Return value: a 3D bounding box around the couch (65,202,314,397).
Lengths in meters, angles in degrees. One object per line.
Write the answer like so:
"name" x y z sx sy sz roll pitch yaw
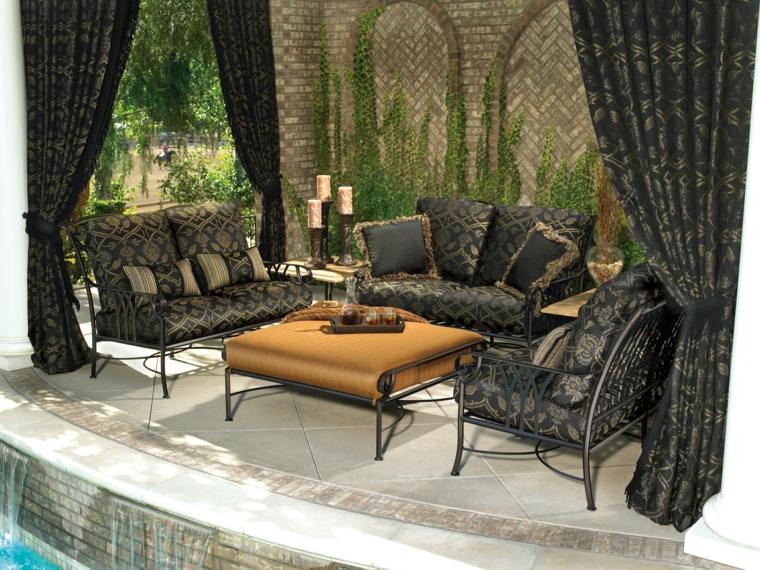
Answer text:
"couch" -1.560 -0.045 5.185 1.162 0.984 1.873 15 16 26

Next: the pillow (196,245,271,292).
"pillow" -1.312 -0.155 5.207 0.641 0.349 0.180 -9 -18 -43

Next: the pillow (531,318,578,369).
"pillow" 0.954 0.315 3.181 0.200 0.089 0.280 -36 14 45

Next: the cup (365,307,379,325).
"cup" -0.048 0.218 4.249 0.117 0.110 0.107 0 12 0

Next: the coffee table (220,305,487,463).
"coffee table" -0.189 0.603 4.095 1.406 0.596 1.115 7 11 30

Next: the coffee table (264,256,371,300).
"coffee table" -0.644 -0.084 5.951 0.585 0.541 0.590 -15 11 -25

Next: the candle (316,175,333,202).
"candle" -0.572 -0.994 6.066 0.122 0.257 0.136 -2 12 -18

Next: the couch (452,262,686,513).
"couch" 1.168 0.620 3.375 1.362 0.983 1.162 1 -8 35

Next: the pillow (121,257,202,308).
"pillow" -1.819 -0.040 4.851 0.735 0.268 0.307 -1 17 -44

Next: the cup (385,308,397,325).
"cup" 0.078 0.221 4.199 0.117 0.115 0.102 0 2 -1
